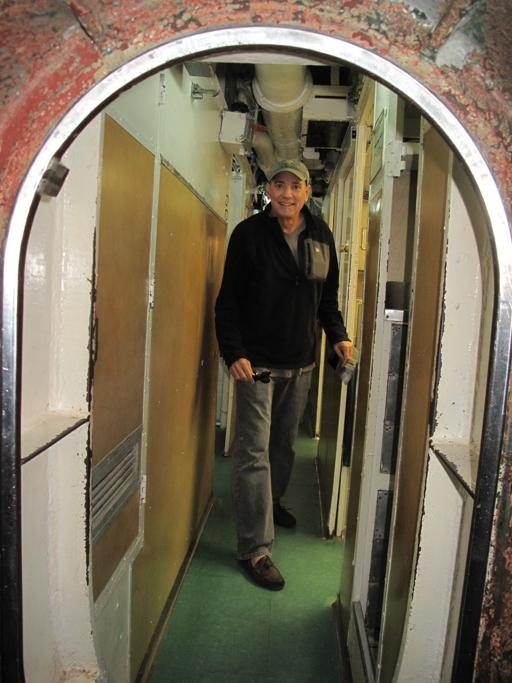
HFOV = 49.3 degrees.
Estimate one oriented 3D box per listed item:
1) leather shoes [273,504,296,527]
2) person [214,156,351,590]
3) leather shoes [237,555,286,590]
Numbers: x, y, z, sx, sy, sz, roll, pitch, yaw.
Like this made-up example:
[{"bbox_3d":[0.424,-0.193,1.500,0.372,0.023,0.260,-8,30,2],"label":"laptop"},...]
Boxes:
[{"bbox_3d":[0.144,0.954,3.077,0.059,0.086,0.173,1,-5,-27],"label":"leather shoes"},{"bbox_3d":[0.145,0.102,2.606,0.529,1.856,0.645,7,6,42],"label":"person"},{"bbox_3d":[0.029,0.993,2.447,0.082,0.104,0.204,3,-5,-29],"label":"leather shoes"}]
